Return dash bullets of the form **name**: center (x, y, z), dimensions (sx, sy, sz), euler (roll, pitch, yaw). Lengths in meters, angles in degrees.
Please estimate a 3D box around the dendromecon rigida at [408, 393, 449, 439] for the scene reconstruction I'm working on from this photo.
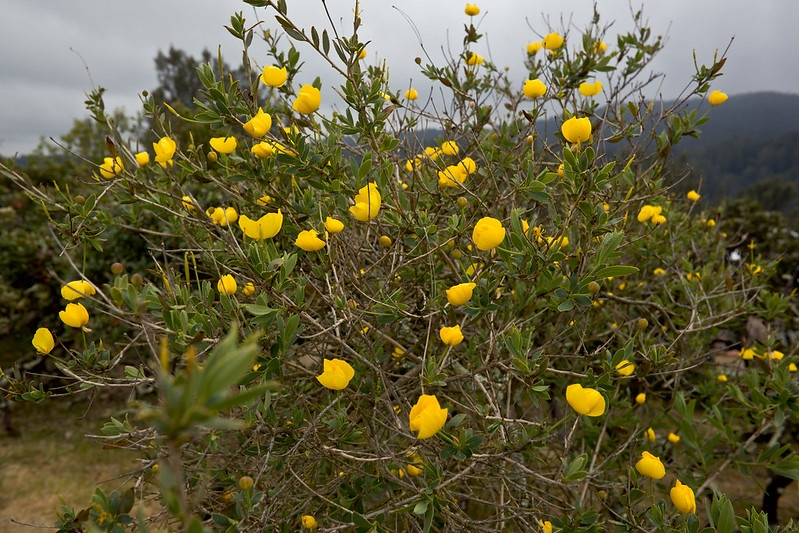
- **dendromecon rigida**: center (0.181, 0.967, 3.757), dimensions (0.228, 0.295, 0.190), euler (6, 27, 1)

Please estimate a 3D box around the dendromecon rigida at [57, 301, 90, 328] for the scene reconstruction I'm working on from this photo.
- **dendromecon rigida**: center (-2.204, 0.358, 4.034), dimensions (0.152, 0.246, 0.191), euler (-9, 30, -26)

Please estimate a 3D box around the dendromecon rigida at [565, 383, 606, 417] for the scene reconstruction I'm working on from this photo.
- **dendromecon rigida**: center (1.196, 0.856, 3.796), dimensions (0.231, 0.131, 0.195), euler (7, 9, -40)

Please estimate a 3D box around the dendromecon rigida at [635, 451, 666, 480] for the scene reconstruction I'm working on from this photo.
- **dendromecon rigida**: center (1.703, 1.335, 4.014), dimensions (0.165, 0.209, 0.149), euler (16, 59, 20)

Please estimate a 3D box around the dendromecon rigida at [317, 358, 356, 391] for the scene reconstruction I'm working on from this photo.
- **dendromecon rigida**: center (-0.425, 0.742, 3.877), dimensions (0.178, 0.278, 0.165), euler (18, 29, 25)
